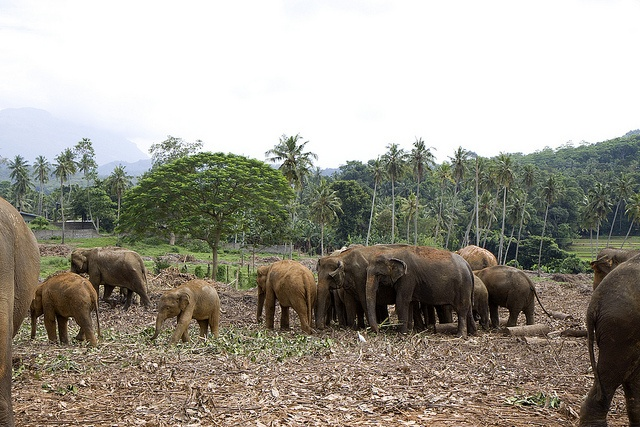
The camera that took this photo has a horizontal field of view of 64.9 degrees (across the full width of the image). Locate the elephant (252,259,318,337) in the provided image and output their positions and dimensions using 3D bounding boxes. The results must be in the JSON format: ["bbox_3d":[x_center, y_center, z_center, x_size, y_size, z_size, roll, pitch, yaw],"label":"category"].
[{"bbox_3d":[-1.014,2.238,13.845,1.045,1.956,2.387,2,-2,-43],"label":"elephant"}]

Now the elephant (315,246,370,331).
[{"bbox_3d":[0.602,1.998,13.579,1.401,2.159,0.681,1,-4,5],"label":"elephant"}]

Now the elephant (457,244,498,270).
[{"bbox_3d":[5.710,1.584,18.212,0.777,0.980,1.663,-1,5,-13],"label":"elephant"}]
